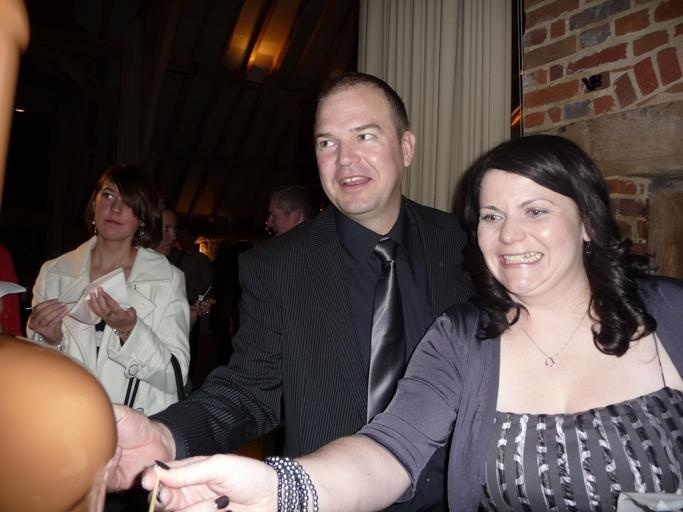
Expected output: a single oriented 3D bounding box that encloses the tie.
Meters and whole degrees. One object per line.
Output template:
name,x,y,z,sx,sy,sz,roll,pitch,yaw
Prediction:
tie,0.170,0.244,1.940,0.130,0.663,0.190,1,-7,7
